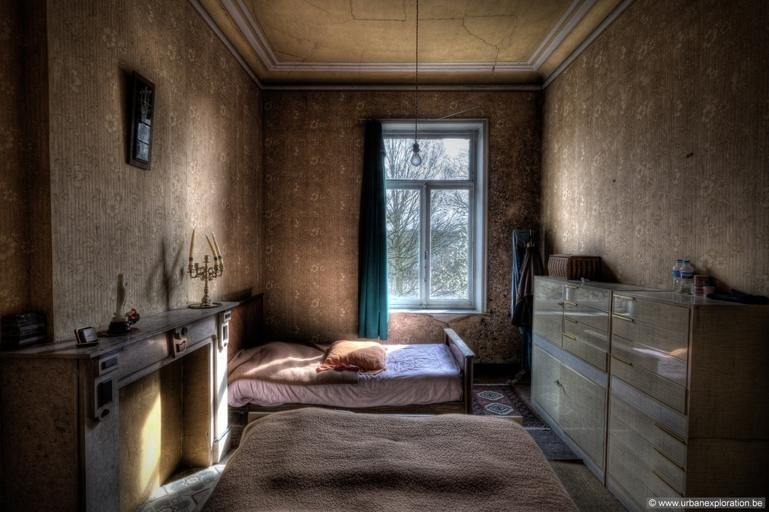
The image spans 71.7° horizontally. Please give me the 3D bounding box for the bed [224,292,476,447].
[{"bbox_3d":[-0.357,0.996,4.691,1.507,0.787,1.303,-1,2,-3],"label":"bed"}]
